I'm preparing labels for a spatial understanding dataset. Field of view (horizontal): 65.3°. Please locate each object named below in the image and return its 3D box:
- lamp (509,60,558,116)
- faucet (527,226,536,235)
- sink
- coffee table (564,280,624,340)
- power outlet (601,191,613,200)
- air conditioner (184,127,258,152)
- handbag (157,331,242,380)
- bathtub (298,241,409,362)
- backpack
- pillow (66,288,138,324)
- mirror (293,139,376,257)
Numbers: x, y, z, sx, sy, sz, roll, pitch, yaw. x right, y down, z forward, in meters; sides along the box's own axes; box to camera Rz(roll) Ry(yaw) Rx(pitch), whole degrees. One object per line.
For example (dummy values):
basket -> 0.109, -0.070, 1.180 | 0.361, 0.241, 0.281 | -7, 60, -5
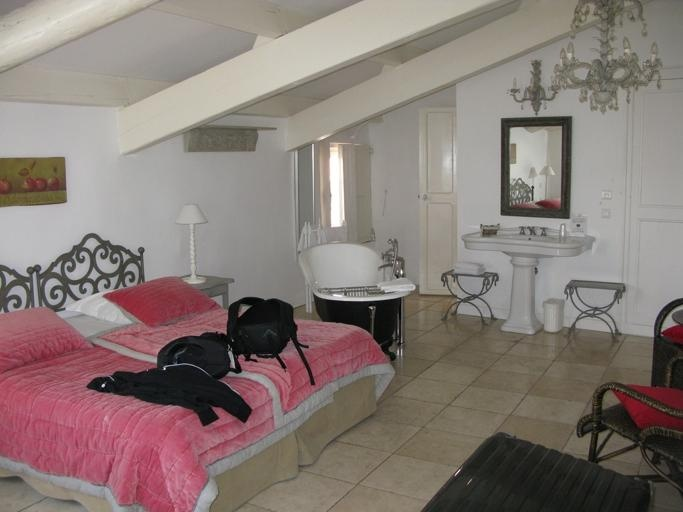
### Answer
lamp -> 2.204, -1.958, 6.167 | 0.553, 0.625, 0.351 | 3, 12, 20
faucet -> 2.267, -0.299, 6.377 | 0.083, 0.083, 0.046 | 7, 20, 40
sink -> 2.169, -0.111, 6.255 | 1.346, 0.318, 0.672 | 6, 14, 35
coffee table -> 2.870, 0.595, 6.113 | 0.645, 0.603, 0.406 | 5, 13, 28
power outlet -> 2.994, -0.682, 6.038 | 0.089, 0.089, 0.036 | 6, 12, 24
air conditioner -> -1.335, -1.312, 6.023 | 0.214, 0.278, 1.052 | 5, 13, 30
handbag -> -0.922, 0.634, 3.394 | 0.341, 0.107, 0.344 | 3, 34, -11
bathtub -> 0.095, 0.376, 5.473 | 0.758, 0.682, 1.553 | -2, 6, -14
backpack -> -0.577, 0.597, 3.942 | 0.670, 0.653, 0.493 | 4, -9, -14
pillow -> -2.017, 0.455, 4.476 | 0.389, 0.108, 0.378 | 17, 15, 34
mirror -> -0.157, -0.863, 7.595 | 1.718, 1.704, 0.123 | -9, 13, -43
